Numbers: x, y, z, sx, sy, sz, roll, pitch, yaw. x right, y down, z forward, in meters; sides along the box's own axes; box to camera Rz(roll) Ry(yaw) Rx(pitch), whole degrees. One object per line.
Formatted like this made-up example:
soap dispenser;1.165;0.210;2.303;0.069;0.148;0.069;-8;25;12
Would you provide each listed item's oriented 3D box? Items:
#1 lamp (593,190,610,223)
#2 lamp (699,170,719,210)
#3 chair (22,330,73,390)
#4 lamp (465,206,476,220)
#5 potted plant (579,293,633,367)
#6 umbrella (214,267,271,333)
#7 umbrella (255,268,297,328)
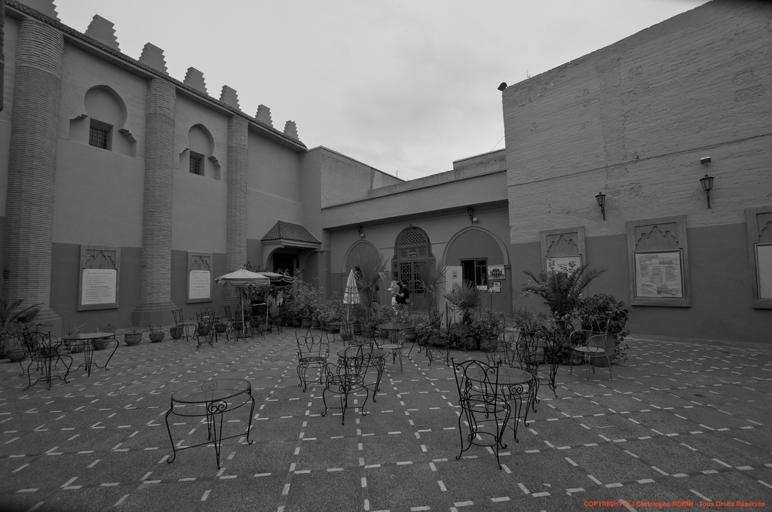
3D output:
lamp;6.457;-1.533;15.364;0.326;0.903;0.284;-4;-6;21
lamp;8.816;-1.804;14.041;0.361;1.007;0.246;-5;-6;32
chair;-8.640;2.672;13.008;1.002;1.572;0.974;-4;-7;19
lamp;3.061;-1.524;18.518;0.318;0.504;0.523;-3;-6;11
potted plant;5.674;1.715;12.654;1.523;1.965;1.699;-2;-3;12
umbrella;-4.837;1.506;17.503;2.111;2.306;2.115;4;4;25
umbrella;-4.140;1.521;19.279;1.782;1.953;1.771;4;0;43
